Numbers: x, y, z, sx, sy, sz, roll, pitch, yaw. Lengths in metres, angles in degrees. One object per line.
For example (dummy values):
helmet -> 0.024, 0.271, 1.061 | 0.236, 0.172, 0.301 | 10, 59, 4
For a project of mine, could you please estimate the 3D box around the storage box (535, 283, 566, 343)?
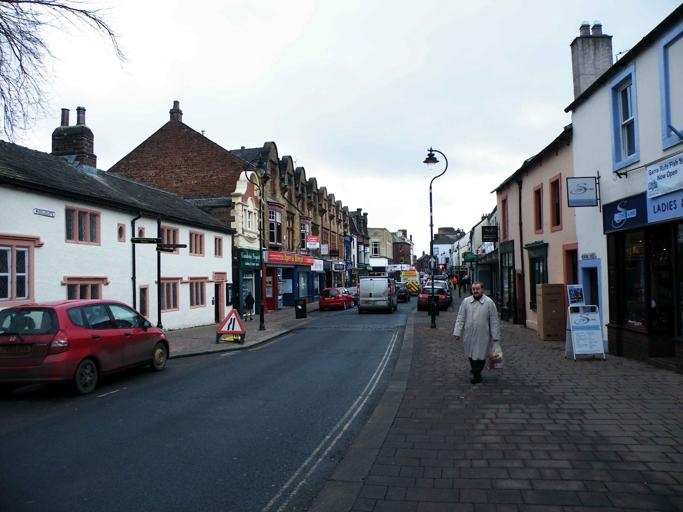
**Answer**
storage box -> 6.172, 1.629, 18.254 | 0.810, 1.632, 0.512 | -1, 2, 15

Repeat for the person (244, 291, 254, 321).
person -> -4.625, 2.492, 31.042 | 0.415, 1.416, 2.046 | -2, 2, -9

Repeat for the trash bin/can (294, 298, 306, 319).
trash bin/can -> -2.071, 2.639, 31.115 | 0.535, 0.895, 0.723 | -2, 2, -12

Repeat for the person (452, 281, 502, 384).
person -> 2.743, 1.519, 12.650 | 0.857, 2.025, 1.131 | -1, 2, 11
